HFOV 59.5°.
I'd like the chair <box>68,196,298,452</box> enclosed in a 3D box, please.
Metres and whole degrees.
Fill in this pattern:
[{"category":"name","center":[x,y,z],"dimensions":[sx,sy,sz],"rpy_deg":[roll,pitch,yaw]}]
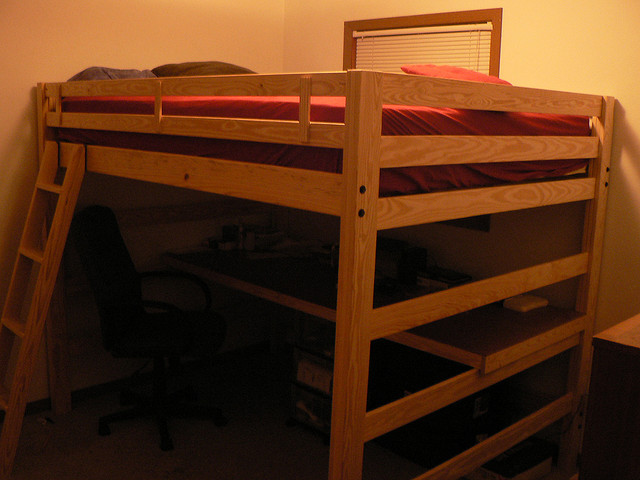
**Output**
[{"category":"chair","center":[-0.999,0.490,3.424],"dimensions":[0.927,1.316,0.838],"rpy_deg":[2,10,4]}]

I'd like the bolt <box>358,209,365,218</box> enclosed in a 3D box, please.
[{"category":"bolt","center":[0.143,-0.091,1.944],"dimensions":[0.027,0.029,0.005],"rpy_deg":[-11,20,-39]}]

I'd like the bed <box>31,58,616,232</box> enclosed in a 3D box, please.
[{"category":"bed","center":[0.114,-0.662,3.310],"dimensions":[2.610,0.580,2.613],"rpy_deg":[10,14,31]}]

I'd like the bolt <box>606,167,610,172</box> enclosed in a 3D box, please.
[{"category":"bolt","center":[1.589,-0.385,3.080],"dimensions":[0.007,0.022,0.026],"rpy_deg":[10,6,42]}]

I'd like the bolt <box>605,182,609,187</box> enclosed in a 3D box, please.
[{"category":"bolt","center":[1.585,-0.304,3.090],"dimensions":[0.018,0.023,0.006],"rpy_deg":[7,-4,35]}]

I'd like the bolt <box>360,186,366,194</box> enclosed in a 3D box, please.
[{"category":"bolt","center":[0.148,-0.171,1.933],"dimensions":[0.024,0.026,0.004],"rpy_deg":[-10,20,-38]}]
